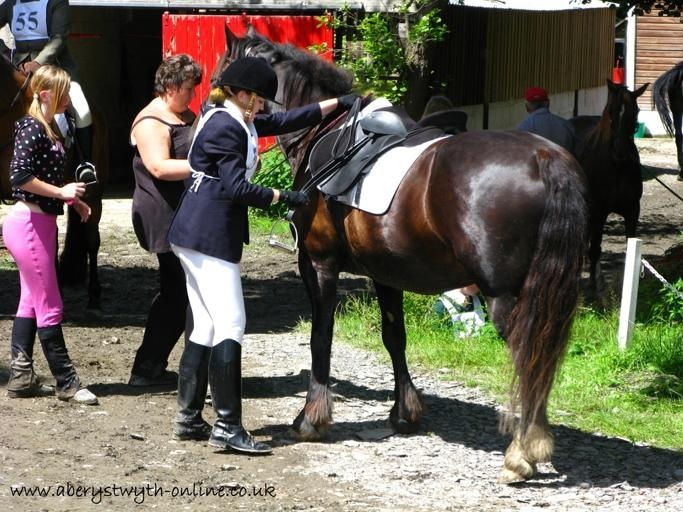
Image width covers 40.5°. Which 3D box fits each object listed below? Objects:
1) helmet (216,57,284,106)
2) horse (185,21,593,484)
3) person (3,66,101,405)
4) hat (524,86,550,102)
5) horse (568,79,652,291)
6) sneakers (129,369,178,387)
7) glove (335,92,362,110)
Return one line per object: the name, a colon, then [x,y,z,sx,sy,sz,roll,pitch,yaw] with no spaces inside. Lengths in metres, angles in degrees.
helmet: [-0.579,-1.119,5.920,0.409,0.293,0.540,-1,0,4]
horse: [0.253,0.020,6.441,3.028,2.596,0.961,4,4,41]
person: [-2.080,-0.130,6.462,0.633,2.357,0.485,-1,13,-7]
hat: [2.026,-1.673,9.619,0.213,0.102,0.311,2,18,10]
horse: [3.043,-0.631,10.265,0.736,2.008,2.915,3,-3,14]
sneakers: [-1.413,0.914,7.015,0.378,0.162,0.138,-4,11,-23]
glove: [0.037,-1.091,6.444,0.133,0.056,0.100,-20,16,-13]
